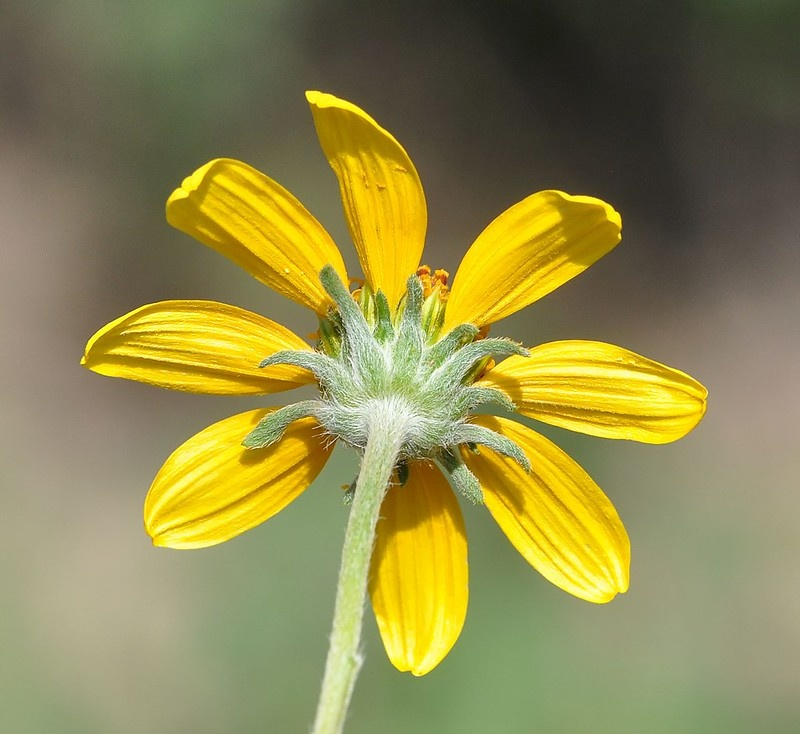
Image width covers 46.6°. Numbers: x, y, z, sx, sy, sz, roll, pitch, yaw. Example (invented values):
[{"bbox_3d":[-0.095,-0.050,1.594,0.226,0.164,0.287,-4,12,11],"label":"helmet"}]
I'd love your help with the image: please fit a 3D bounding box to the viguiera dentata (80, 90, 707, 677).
[{"bbox_3d":[0.008,0.050,2.059,1.312,0.741,1.027,30,-49,-14],"label":"viguiera dentata"}]
